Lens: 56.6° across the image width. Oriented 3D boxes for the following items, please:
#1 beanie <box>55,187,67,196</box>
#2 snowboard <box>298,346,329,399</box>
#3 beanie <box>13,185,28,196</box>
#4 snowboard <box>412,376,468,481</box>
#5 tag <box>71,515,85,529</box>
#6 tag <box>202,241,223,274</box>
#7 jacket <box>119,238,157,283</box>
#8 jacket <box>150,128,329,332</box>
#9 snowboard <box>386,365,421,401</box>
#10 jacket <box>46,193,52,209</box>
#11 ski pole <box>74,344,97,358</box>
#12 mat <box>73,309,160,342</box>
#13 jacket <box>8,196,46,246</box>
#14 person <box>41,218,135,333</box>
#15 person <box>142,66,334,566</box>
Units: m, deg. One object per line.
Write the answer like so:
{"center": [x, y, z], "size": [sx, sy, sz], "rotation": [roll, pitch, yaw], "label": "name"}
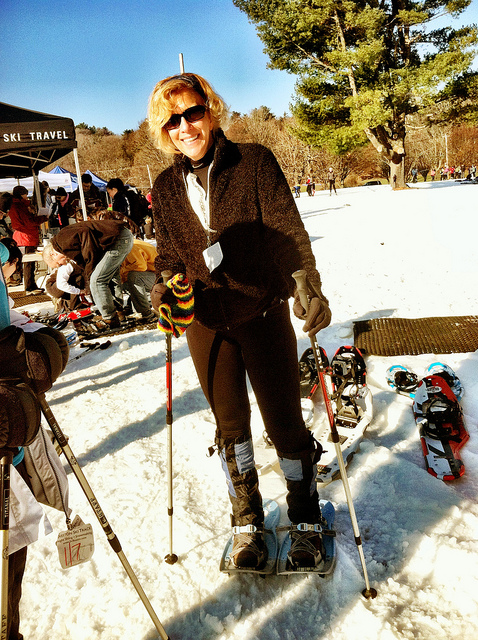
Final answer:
{"center": [-4.092, -2.893, 10.135], "size": [0.184, 0.179, 0.328], "rotation": [-9, 14, -7], "label": "beanie"}
{"center": [0.591, 0.468, 3.514], "size": [0.220, 0.094, 0.487], "rotation": [-2, 57, -4], "label": "snowboard"}
{"center": [-4.594, -2.674, 9.253], "size": [0.263, 0.246, 0.659], "rotation": [-13, 15, -24], "label": "beanie"}
{"center": [1.291, 0.646, 2.838], "size": [0.305, 0.209, 0.919], "rotation": [-15, 29, 24], "label": "snowboard"}
{"center": [-0.535, 0.667, 1.465], "size": [0.040, 0.038, 0.011], "rotation": [23, -10, -16], "label": "tag"}
{"center": [-0.093, -0.220, 1.649], "size": [0.095, 0.087, 0.022], "rotation": [-19, -5, 41], "label": "tag"}
{"center": [-1.511, -0.799, 6.338], "size": [0.567, 0.646, 0.490], "rotation": [-7, 10, -44], "label": "jacket"}
{"center": [-0.063, -0.336, 1.773], "size": [0.838, 0.737, 0.316], "rotation": [-8, 9, 31], "label": "jacket"}
{"center": [1.318, 0.492, 3.523], "size": [0.162, 0.232, 0.260], "rotation": [-16, 16, -31], "label": "snowboard"}
{"center": [-4.802, -2.949, 11.144], "size": [0.064, 0.403, 0.971], "rotation": [-11, 14, -15], "label": "jacket"}
{"center": [-1.806, 0.372, 5.257], "size": [0.186, 0.052, 0.047], "rotation": [-37, 39, -17], "label": "ski pole"}
{"center": [-1.619, 0.034, 5.798], "size": [1.016, 0.320, 0.445], "rotation": [-12, 15, -21], "label": "mat"}
{"center": [-4.487, -2.055, 9.371], "size": [0.615, 1.031, 0.406], "rotation": [-17, 17, -34], "label": "jacket"}
{"center": [-1.854, -0.554, 5.617], "size": [1.154, 1.395, 0.733], "rotation": [-9, 11, -18], "label": "person"}
{"center": [0.003, 0.047, 1.781], "size": [0.727, 1.988, 0.545], "rotation": [-3, 14, 15], "label": "person"}
